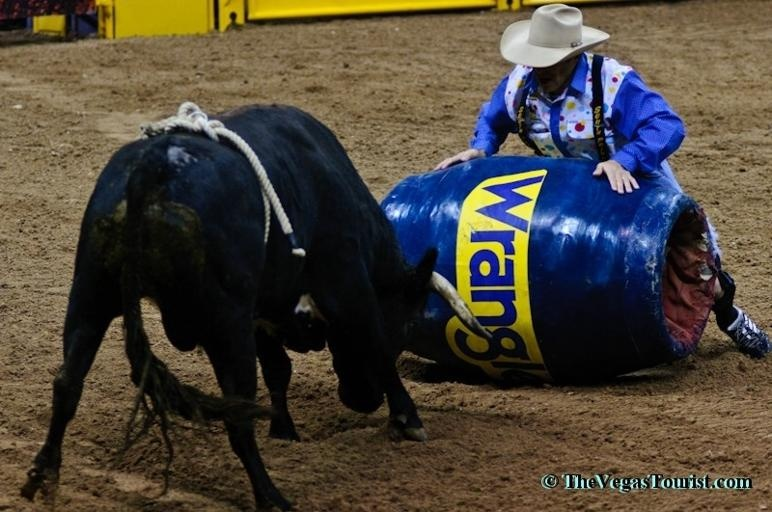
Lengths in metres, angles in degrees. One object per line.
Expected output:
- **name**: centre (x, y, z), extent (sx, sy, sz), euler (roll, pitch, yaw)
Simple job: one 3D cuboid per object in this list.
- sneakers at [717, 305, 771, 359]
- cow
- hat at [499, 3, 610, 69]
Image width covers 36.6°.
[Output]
- **sneakers**: centre (2.629, 0.572, 8.730), extent (0.552, 0.181, 0.246), euler (41, 14, 24)
- **cow**: centre (-0.816, 0.278, 7.155), extent (1.032, 2.401, 2.591), euler (15, 22, 42)
- **hat**: centre (1.137, -1.598, 8.466), extent (0.711, 0.459, 0.569), euler (12, 20, 39)
